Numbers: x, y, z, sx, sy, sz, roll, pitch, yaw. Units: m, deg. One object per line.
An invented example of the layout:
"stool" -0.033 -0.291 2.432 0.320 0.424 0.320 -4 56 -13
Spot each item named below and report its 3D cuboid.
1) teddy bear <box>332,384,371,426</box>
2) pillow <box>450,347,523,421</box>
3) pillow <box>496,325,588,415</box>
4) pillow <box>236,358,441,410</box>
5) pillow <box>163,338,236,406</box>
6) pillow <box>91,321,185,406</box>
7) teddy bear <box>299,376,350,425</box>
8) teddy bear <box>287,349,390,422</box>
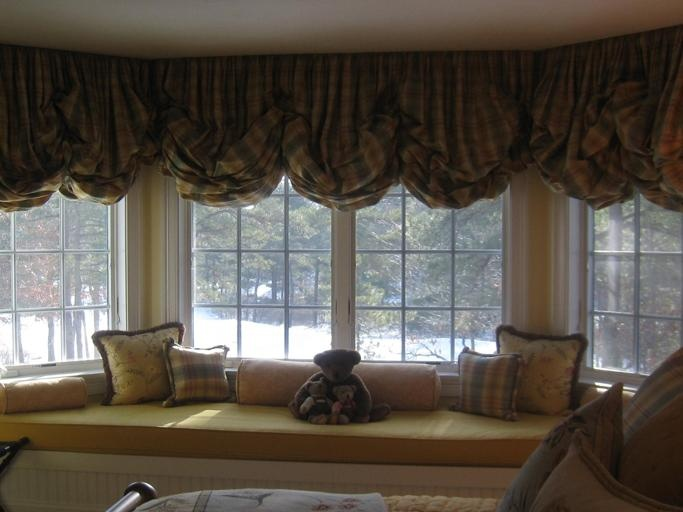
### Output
"teddy bear" 0.048 0.931 4.395 0.246 0.259 0.144 -1 -6 -14
"pillow" 0.927 0.840 4.509 0.483 0.463 0.190 -1 -17 37
"pillow" 1.270 0.745 4.427 0.505 0.541 0.191 1 -18 22
"pillow" -0.035 0.884 4.691 1.390 0.356 0.268 1 -20 9
"pillow" -0.968 0.794 4.674 0.402 0.387 0.151 3 -24 -27
"pillow" -1.356 0.740 4.664 0.474 0.442 0.175 -5 -20 -21
"teddy bear" -0.119 0.905 4.410 0.359 0.305 0.206 -3 -7 -18
"teddy bear" -0.026 0.830 4.455 0.608 0.464 0.419 -1 0 3
